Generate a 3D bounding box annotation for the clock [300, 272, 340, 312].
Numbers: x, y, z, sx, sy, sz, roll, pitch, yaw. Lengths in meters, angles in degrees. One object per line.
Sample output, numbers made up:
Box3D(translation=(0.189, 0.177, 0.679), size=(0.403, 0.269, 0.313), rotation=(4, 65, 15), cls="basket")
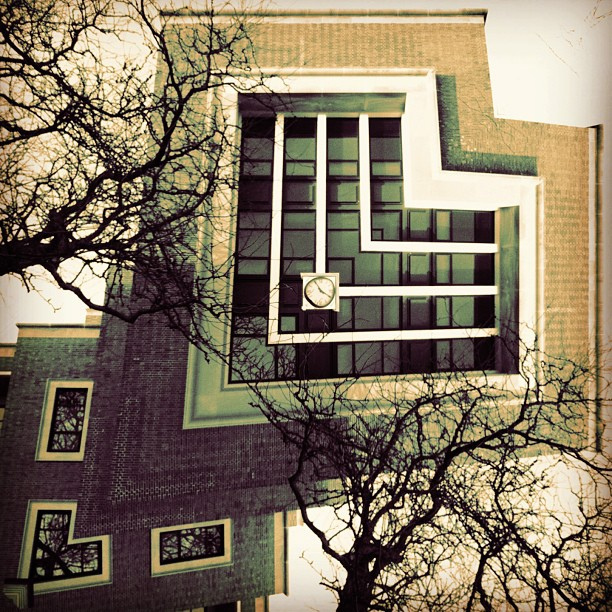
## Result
Box3D(translation=(0.255, -0.317, 16.233), size=(0.846, 0.722, 0.190), rotation=(-1, -5, -5), cls="clock")
